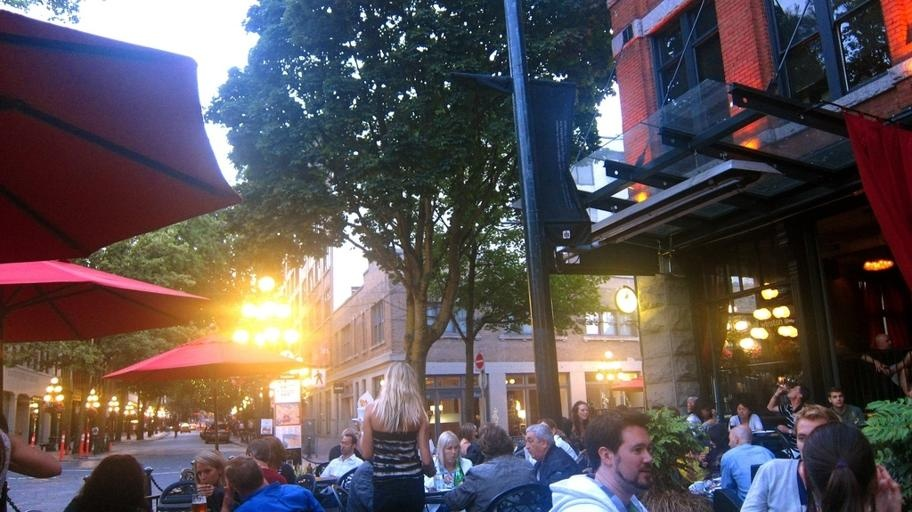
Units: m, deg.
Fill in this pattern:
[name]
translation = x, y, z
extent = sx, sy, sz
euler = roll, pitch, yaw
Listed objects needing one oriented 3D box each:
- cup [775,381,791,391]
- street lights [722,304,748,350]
[cup]
translation = 7.127, 2.858, 14.220
extent = 0.315, 0.155, 0.439
euler = -3, -10, 30
[street lights]
translation = 6.743, 1.525, 15.886
extent = 0.483, 0.463, 0.858
euler = 8, -27, 3
